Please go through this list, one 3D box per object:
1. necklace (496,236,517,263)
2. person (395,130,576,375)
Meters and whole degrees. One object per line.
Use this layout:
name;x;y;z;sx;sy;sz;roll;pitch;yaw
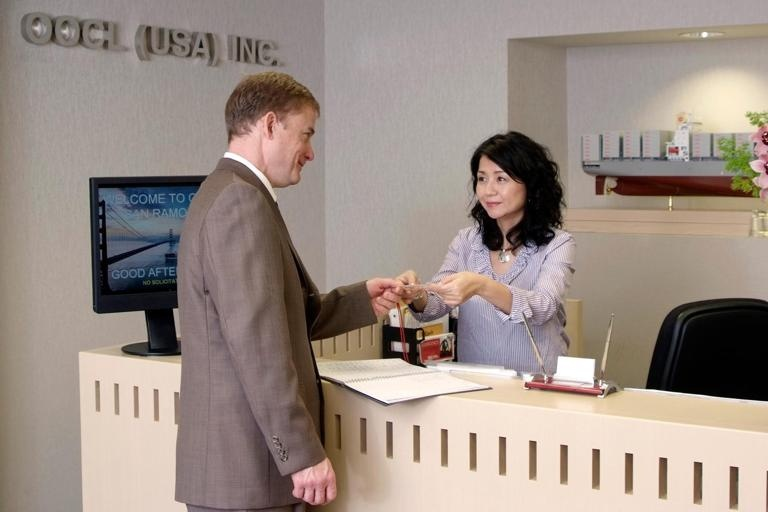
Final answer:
necklace;0.585;-0.031;3.414;0.106;0.183;0.020;-5;-13;35
person;0.513;-0.012;3.322;0.766;1.139;0.625;-1;3;-3
